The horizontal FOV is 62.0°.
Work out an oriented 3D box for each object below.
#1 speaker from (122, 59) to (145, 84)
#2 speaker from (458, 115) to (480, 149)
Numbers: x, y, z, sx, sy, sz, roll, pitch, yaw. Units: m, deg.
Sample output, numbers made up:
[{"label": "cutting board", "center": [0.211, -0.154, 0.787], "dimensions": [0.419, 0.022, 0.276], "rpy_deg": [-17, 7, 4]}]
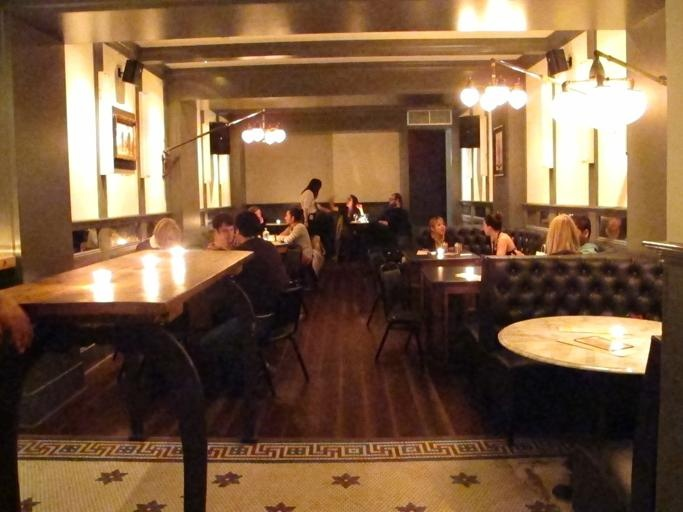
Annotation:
[{"label": "speaker", "center": [-2.796, -2.458, 7.573], "dimensions": [0.237, 0.312, 0.453], "rpy_deg": [-3, 10, -10]}, {"label": "speaker", "center": [2.444, -2.385, 10.862], "dimensions": [0.369, 0.610, 0.368], "rpy_deg": [1, 10, 10]}]
